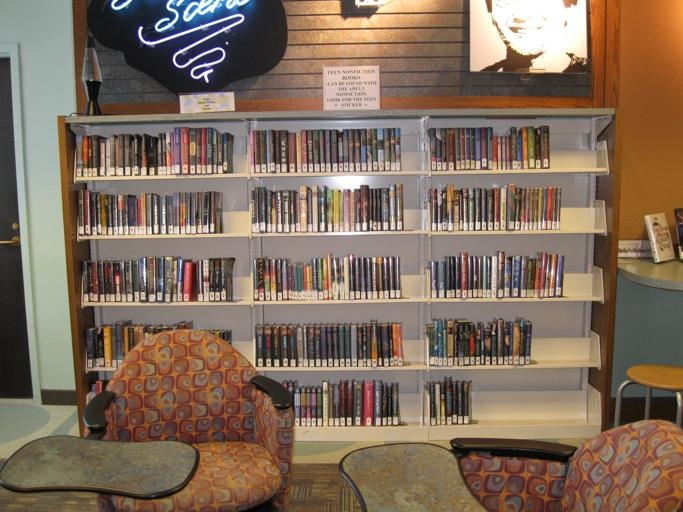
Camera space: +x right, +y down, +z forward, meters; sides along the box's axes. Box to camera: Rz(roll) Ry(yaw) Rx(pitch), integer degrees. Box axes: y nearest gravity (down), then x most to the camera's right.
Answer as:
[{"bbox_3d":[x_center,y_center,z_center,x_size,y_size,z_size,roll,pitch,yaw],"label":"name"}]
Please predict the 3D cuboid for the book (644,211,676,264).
[{"bbox_3d":[2.431,-0.137,6.297,0.309,0.351,0.132,-10,9,-40],"label":"book"}]
